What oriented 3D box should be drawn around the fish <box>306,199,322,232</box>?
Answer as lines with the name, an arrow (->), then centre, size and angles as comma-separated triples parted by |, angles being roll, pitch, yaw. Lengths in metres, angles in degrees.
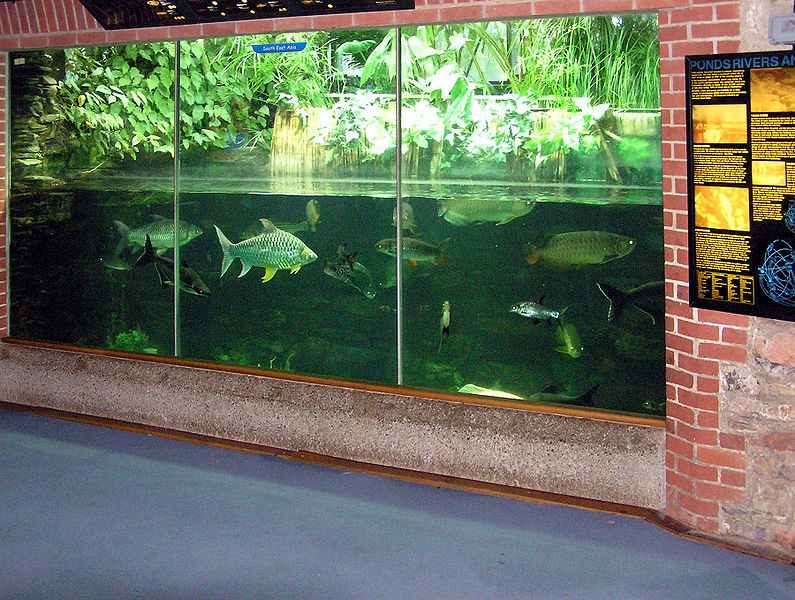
fish -> -0.724, -0.717, 5.336 | 0.134, 0.261, 0.034 | 6, 14, 26

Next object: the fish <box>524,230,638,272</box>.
fish -> 1.367, -0.351, 4.667 | 0.889, 0.276, 0.186 | -3, -2, 35

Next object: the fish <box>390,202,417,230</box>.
fish -> 0.049, -0.669, 5.065 | 0.175, 0.275, 0.116 | 11, 12, 0

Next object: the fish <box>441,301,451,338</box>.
fish -> 0.381, 0.147, 5.040 | 0.080, 0.283, 0.036 | 2, 13, 11
